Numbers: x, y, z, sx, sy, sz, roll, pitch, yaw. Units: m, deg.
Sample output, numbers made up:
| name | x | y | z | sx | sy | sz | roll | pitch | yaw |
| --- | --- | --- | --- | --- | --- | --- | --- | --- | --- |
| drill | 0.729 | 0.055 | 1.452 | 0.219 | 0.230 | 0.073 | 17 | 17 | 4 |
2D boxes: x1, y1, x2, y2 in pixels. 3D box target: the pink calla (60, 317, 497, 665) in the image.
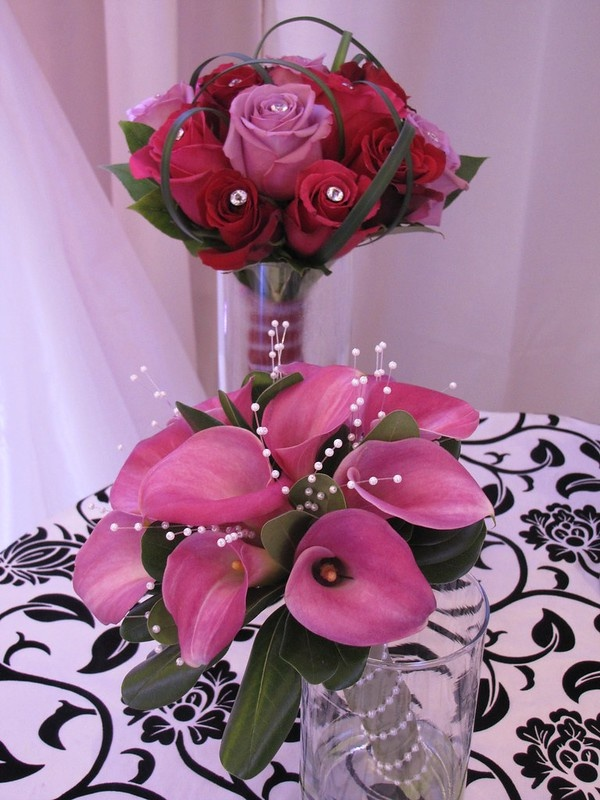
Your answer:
| name | x | y | z | sx | sy | sz | roll | pitch | yaw |
| --- | --- | --- | --- | --- | --- | --- | --- | --- | --- |
| pink calla | -0.010 | 0.048 | 0.410 | 0.214 | 0.127 | 0.183 | 5 | 23 | 12 |

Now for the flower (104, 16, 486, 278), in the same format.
| name | x | y | z | sx | sy | sz | roll | pitch | yaw |
| --- | --- | --- | --- | --- | --- | --- | --- | --- | --- |
| flower | -0.018 | -0.233 | 0.733 | 0.366 | 0.232 | 0.272 | 4 | 23 | 10 |
